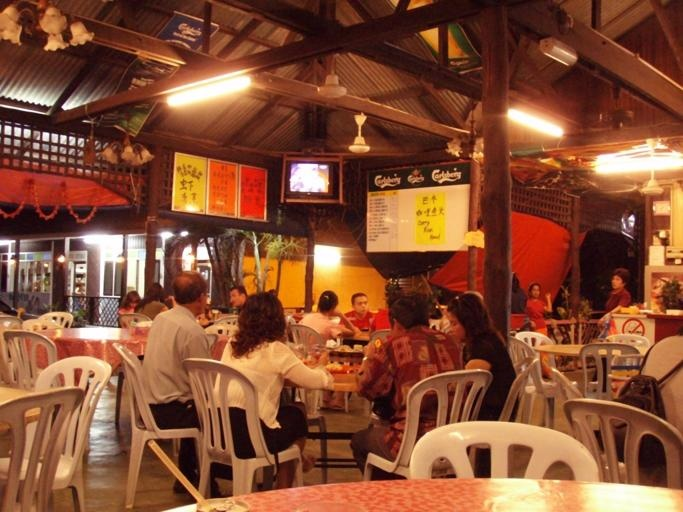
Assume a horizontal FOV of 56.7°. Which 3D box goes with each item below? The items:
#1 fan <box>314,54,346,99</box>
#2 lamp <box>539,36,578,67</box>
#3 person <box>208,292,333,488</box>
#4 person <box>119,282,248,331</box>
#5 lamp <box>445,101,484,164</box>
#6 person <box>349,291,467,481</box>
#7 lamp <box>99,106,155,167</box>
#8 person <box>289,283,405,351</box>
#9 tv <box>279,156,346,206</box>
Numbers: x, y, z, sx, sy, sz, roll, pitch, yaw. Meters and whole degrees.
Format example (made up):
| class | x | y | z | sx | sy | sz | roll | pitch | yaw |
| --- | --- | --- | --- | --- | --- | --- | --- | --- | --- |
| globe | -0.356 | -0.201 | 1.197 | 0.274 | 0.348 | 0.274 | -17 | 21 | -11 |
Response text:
| class | x | y | z | sx | sy | sz | roll | pitch | yaw |
| --- | --- | --- | --- | --- | --- | --- | --- | --- | --- |
| fan | -0.093 | -2.002 | 7.007 | 0.260 | 0.440 | 0.264 | 4 | 7 | -37 |
| lamp | 2.147 | -2.078 | 6.291 | 0.464 | 0.299 | 0.192 | 4 | -4 | -40 |
| person | -0.452 | 0.900 | 4.225 | 0.687 | 1.316 | 0.409 | 2 | -3 | -14 |
| person | -1.833 | 0.597 | 7.525 | 1.298 | 0.334 | 0.925 | -2 | -4 | 35 |
| lamp | 2.035 | -2.116 | 10.413 | 0.554 | 1.215 | 1.903 | 1 | -3 | 10 |
| person | 0.411 | 0.826 | 4.158 | 0.738 | 1.184 | 0.592 | 0 | -3 | 29 |
| lamp | -3.230 | -1.828 | 9.513 | 0.504 | 0.922 | 0.481 | 7 | -47 | -5 |
| person | -0.010 | 0.742 | 7.589 | 0.735 | 0.432 | 1.020 | 1 | 0 | 38 |
| tv | -0.472 | -1.441 | 11.954 | 1.177 | 0.934 | 0.665 | 3 | 7 | 20 |
